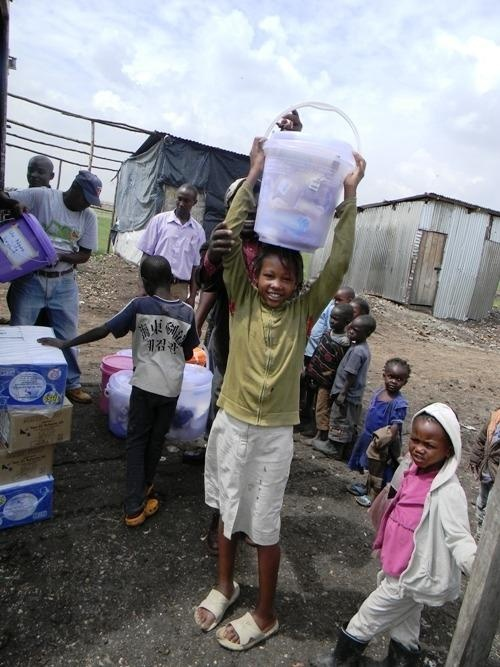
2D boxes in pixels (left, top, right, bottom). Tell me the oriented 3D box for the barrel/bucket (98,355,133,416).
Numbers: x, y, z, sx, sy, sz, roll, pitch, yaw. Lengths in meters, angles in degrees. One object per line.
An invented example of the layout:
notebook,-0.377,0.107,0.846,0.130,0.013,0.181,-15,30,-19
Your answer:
barrel/bucket,-1.125,0.385,3.842,0.413,0.415,0.454,0,7,-17

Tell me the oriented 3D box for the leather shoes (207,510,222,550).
leather shoes,-0.187,1.037,2.449,0.095,0.146,0.246,3,2,-3

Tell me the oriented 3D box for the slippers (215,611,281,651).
slippers,-0.014,1.203,1.909,0.211,0.071,0.098,6,23,-39

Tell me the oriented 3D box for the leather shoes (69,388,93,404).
leather shoes,-1.436,0.545,4.020,0.237,0.083,0.091,3,10,18

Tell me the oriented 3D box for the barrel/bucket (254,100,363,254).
barrel/bucket,0.215,-0.624,1.823,0.391,0.526,0.373,14,10,-2

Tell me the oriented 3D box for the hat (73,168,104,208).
hat,-1.248,-1.115,3.610,0.209,0.261,0.360,3,17,-20

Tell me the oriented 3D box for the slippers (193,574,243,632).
slippers,-0.142,1.176,2.017,0.087,0.069,0.225,17,5,24

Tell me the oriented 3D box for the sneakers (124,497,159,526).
sneakers,-0.598,0.996,2.607,0.078,0.083,0.193,3,14,18
